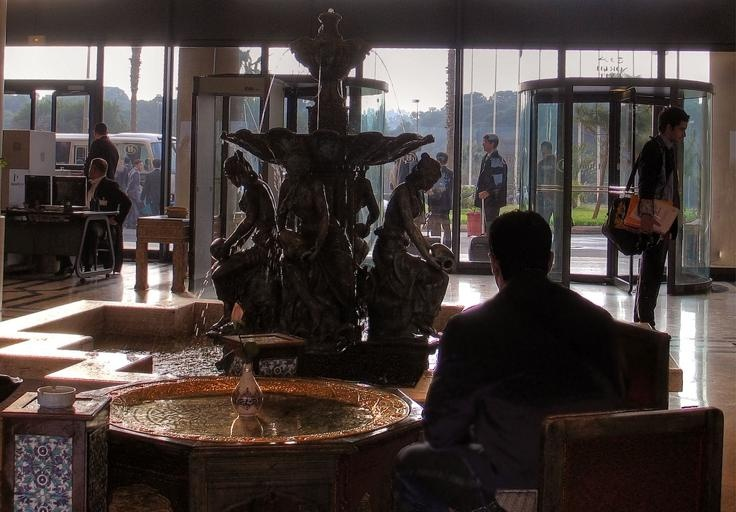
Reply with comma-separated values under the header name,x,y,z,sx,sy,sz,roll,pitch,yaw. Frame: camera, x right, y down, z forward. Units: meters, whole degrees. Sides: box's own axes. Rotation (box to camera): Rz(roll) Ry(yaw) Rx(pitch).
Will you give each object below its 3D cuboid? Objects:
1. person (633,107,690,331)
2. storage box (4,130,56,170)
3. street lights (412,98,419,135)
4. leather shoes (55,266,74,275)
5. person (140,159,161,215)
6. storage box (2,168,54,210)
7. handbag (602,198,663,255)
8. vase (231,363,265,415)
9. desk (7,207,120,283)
name,x,y,z,sx,sy,sz,roll,pitch,yaw
person,2.574,-0.322,6.189,0.355,2.047,0.594,6,7,41
storage box,-5.734,-1.773,11.672,0.783,0.724,0.430,-2,7,-30
street lights,0.866,-2.533,12.228,0.128,0.567,0.334,1,6,0
leather shoes,-4.800,0.233,10.917,0.102,0.111,0.287,-29,-5,22
person,-4.548,-1.411,14.422,0.280,1.223,2.519,0,7,-20
storage box,-5.479,-1.074,11.074,0.662,0.711,0.382,0,-3,4
handbag,2.289,-0.276,6.216,0.352,0.505,0.518,2,20,-27
vase,-0.529,0.581,3.009,0.123,0.255,0.150,0,6,-11
desk,-4.711,-0.240,10.707,1.403,1.075,0.997,4,7,20
